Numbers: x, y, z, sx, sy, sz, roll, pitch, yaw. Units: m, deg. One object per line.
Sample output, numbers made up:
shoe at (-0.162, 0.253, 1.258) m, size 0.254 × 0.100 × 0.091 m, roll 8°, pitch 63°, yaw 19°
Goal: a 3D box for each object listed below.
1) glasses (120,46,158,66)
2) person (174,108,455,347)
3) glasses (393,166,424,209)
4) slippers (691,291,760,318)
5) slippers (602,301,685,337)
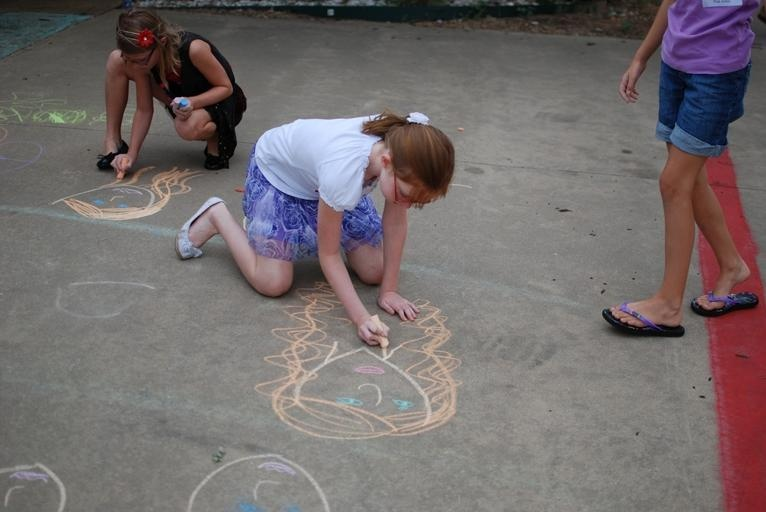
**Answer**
glasses at (-1.327, -1.069, 3.788) m, size 0.111 × 0.056 × 0.129 m, roll 3°, pitch 44°, yaw 1°
person at (-0.207, -0.264, 3.357) m, size 1.115 × 0.922 × 1.498 m, roll -14°, pitch 26°, yaw -33°
glasses at (0.087, -0.267, 2.867) m, size 0.048 × 0.141 × 0.147 m, roll -1°, pitch 3°, yaw 34°
slippers at (1.586, 0.223, 3.204) m, size 0.245 × 0.066 × 0.126 m, roll -4°, pitch 29°, yaw 5°
slippers at (1.162, 0.302, 3.102) m, size 0.293 × 0.081 × 0.154 m, roll 17°, pitch 20°, yaw -2°
